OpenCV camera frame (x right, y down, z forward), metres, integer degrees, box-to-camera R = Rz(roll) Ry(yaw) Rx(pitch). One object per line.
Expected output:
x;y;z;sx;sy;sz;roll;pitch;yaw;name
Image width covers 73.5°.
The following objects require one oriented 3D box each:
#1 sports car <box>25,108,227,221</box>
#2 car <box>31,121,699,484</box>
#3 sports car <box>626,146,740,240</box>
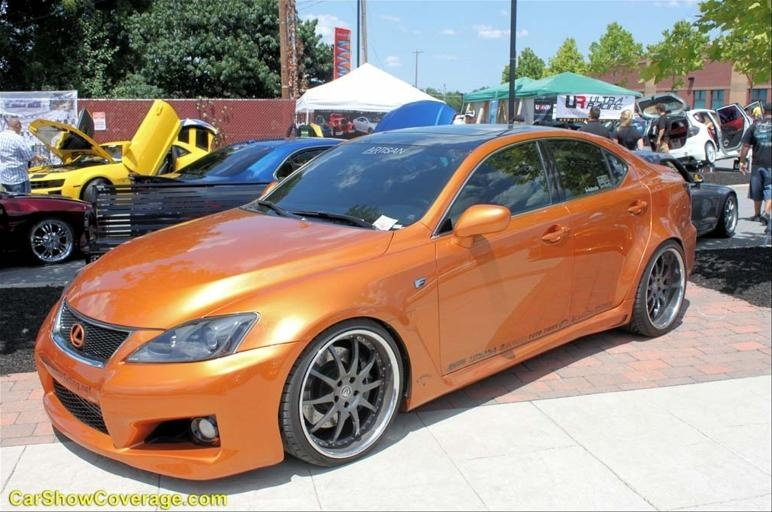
-6.459;-2.542;13.164;2.069;1.690;4.064;19;27;41;sports car
0.222;0.118;4.514;5.263;1.590;2.407;-8;13;-32;car
5.144;-0.978;8.696;2.702;1.026;1.546;-8;12;-31;sports car
